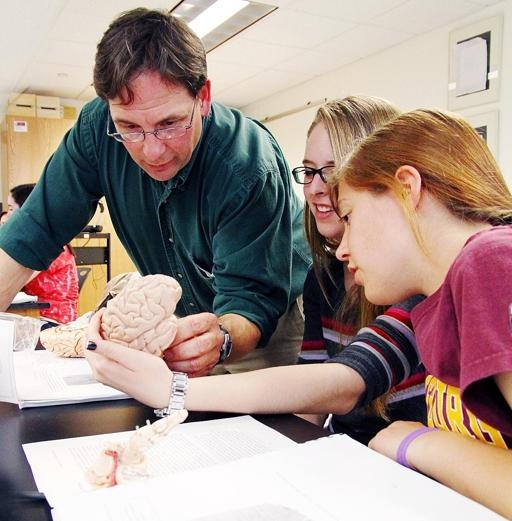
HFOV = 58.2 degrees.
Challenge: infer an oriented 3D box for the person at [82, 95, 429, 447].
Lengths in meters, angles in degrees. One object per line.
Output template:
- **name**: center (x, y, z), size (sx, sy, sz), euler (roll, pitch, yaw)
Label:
- **person**: center (-0.054, 0.142, 1.636), size (0.885, 1.305, 0.646), euler (5, -17, -13)

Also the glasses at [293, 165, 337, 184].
- **glasses**: center (0.199, -0.242, 1.309), size (0.117, 0.033, 0.116), euler (2, 1, -40)

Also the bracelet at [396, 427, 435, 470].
- **bracelet**: center (0.237, 0.282, 0.696), size (0.015, 0.054, 0.059), euler (35, 50, 13)

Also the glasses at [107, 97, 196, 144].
- **glasses**: center (-0.272, -0.355, 1.174), size (0.228, 0.113, 0.083), euler (-1, -2, 8)
